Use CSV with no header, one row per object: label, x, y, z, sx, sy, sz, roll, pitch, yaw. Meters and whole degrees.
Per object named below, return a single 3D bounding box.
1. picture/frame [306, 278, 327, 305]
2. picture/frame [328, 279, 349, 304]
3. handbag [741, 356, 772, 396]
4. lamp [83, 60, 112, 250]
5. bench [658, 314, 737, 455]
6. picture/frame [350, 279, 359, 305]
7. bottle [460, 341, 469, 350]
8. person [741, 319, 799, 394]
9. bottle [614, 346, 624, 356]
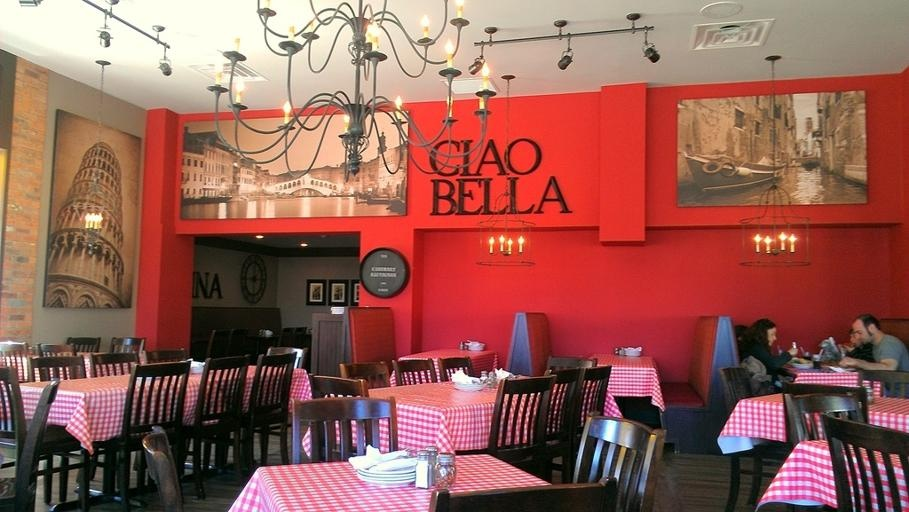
picture/frame,-3.865,1.029,18.162,0.886,0.911,0.068,0,-4,9
picture/frame,-3.218,1.027,18.023,0.830,0.822,0.061,0,-3,12
handbag,4.176,1.707,9.140,0.498,0.518,0.202,4,-19,-17
lamp,-6.296,-1.587,11.308,0.319,3.050,1.058,0,-6,-29
bench,3.661,1.977,9.638,1.213,1.812,2.070,-2,-5,18
picture/frame,-2.794,1.001,17.885,0.199,0.721,0.183,-4,-5,17
bottle,0.174,1.602,11.454,0.129,0.102,0.118,1,-8,0
person,4.662,1.654,9.593,0.909,1.220,0.649,-1,2,4
bottle,2.791,1.629,10.976,0.211,0.127,0.105,2,4,32
